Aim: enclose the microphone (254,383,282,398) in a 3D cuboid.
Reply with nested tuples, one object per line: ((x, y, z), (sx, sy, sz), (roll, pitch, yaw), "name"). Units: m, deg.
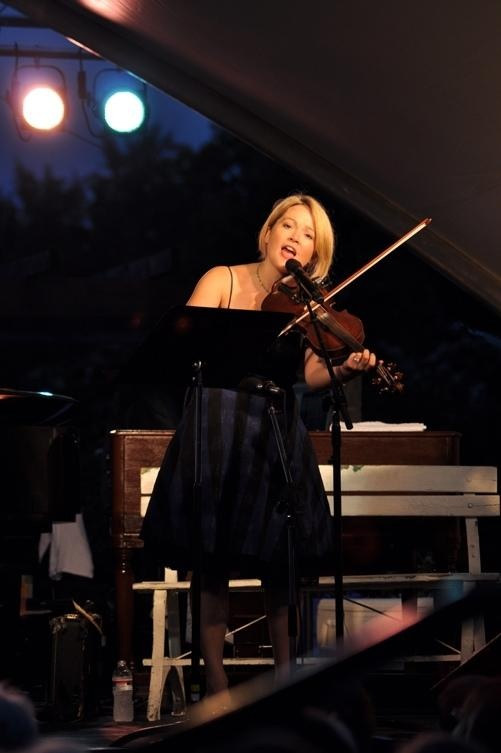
((0.043, 0.033, 2.040), (0.062, 0.039, 0.027), (0, -12, -1), "microphone")

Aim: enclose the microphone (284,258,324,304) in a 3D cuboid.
((0.123, -0.249, 2.191), (0.056, 0.051, 0.174), (18, 22, -28), "microphone")

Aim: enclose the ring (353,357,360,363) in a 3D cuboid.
((0.272, -0.040, 2.170), (0.010, 0.007, 0.017), (8, -24, 1), "ring")
